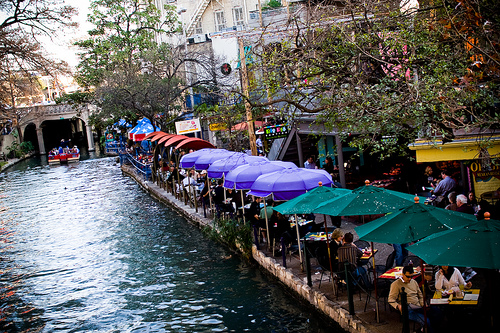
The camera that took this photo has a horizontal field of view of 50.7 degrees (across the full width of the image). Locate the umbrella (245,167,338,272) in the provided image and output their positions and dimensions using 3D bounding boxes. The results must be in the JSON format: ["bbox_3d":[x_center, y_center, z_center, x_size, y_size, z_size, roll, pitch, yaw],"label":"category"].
[{"bbox_3d":[1.478,1.848,20.088,3.344,3.342,3.375,-6,-6,1],"label":"umbrella"}]

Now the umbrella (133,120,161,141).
[{"bbox_3d":[-8.733,-2.936,44.094,1.999,1.165,4.126,-8,11,-2],"label":"umbrella"}]

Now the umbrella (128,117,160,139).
[{"bbox_3d":[-9.613,-3.260,45.797,2.359,1.668,2.321,-2,2,-13],"label":"umbrella"}]

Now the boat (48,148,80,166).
[{"bbox_3d":[-22.170,-0.996,62.873,2.248,1.358,3.447,-1,13,30],"label":"boat"}]

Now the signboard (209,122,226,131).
[{"bbox_3d":[-2.067,-2.527,33.457,0.678,0.487,1.309,-2,12,28],"label":"signboard"}]

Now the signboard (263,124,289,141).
[{"bbox_3d":[1.411,-1.864,28.451,1.314,0.774,0.686,-7,11,1],"label":"signboard"}]

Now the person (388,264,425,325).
[{"bbox_3d":[4.198,3.494,14.232,0.887,1.448,0.901,-5,12,15],"label":"person"}]

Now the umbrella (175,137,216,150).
[{"bbox_3d":[-3.235,-1.287,31.126,2.088,0.770,1.235,-9,11,-8],"label":"umbrella"}]

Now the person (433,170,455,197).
[{"bbox_3d":[7.511,0.694,20.332,0.745,0.944,0.657,-11,12,-17],"label":"person"}]

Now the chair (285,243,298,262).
[{"bbox_3d":[1.447,3.101,19.120,0.505,0.685,0.501,-6,8,-30],"label":"chair"}]

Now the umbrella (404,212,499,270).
[{"bbox_3d":[5.252,1.965,12.900,1.615,0.540,1.533,-8,5,-11],"label":"umbrella"}]

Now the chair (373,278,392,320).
[{"bbox_3d":[3.890,3.682,15.426,0.536,0.999,1.497,-5,11,13],"label":"chair"}]

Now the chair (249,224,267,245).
[{"bbox_3d":[0.377,2.699,20.875,0.734,0.850,0.744,-2,2,-12],"label":"chair"}]

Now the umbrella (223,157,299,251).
[{"bbox_3d":[0.255,1.478,22.171,3.254,3.427,3.308,-2,1,0],"label":"umbrella"}]

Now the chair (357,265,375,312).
[{"bbox_3d":[3.437,3.551,15.546,0.427,1.118,0.939,-6,12,11],"label":"chair"}]

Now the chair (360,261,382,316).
[{"bbox_3d":[3.626,3.475,15.819,0.613,1.107,1.833,-6,11,10],"label":"chair"}]

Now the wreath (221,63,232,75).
[{"bbox_3d":[-1.924,-8.165,43.873,1.213,1.184,0.419,1,1,-12],"label":"wreath"}]
